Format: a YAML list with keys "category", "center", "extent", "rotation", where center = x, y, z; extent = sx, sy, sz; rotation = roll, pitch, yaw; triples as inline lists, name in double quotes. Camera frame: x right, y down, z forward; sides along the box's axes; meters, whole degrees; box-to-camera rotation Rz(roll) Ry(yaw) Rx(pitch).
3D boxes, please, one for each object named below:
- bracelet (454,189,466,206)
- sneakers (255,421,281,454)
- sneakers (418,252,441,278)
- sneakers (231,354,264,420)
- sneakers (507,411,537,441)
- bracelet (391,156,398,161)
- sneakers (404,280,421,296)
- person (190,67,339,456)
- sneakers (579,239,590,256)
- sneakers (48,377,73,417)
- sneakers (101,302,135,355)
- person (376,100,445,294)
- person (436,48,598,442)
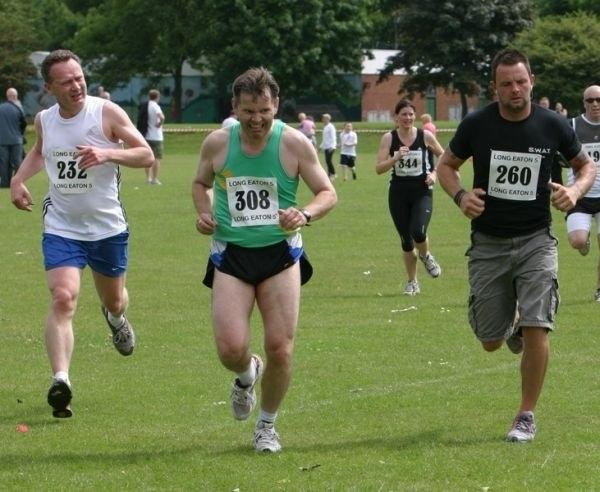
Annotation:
- category: "bracelet"
  center: [1.171, -0.359, 7.260]
  extent: [0.097, 0.067, 0.132]
  rotation: [-3, 39, 10]
- category: "sneakers"
  center: [-0.226, 1.296, 6.787]
  extent: [0.177, 0.195, 0.163]
  rotation: [-1, 9, -2]
- category: "sneakers"
  center: [1.641, 0.246, 12.657]
  extent: [0.113, 0.314, 0.134]
  rotation: [-40, -5, 27]
- category: "sneakers"
  center: [-0.388, 1.051, 7.101]
  extent: [0.170, 0.530, 0.230]
  rotation: [4, 9, 5]
- category: "sneakers"
  center: [1.546, 1.247, 6.916]
  extent: [0.191, 0.180, 0.215]
  rotation: [2, 9, 14]
- category: "bracelet"
  center: [1.101, -1.011, 11.517]
  extent: [0.061, 0.064, 0.051]
  rotation: [1, 9, 5]
- category: "sneakers"
  center: [1.312, 0.476, 11.650]
  extent: [0.181, 0.162, 0.286]
  rotation: [1, 9, 6]
- category: "person"
  center: [-0.286, 0.075, 6.906]
  extent: [0.955, 2.596, 0.814]
  rotation: [2, 8, 13]
- category: "sneakers"
  center: [3.139, 0.003, 10.952]
  extent: [0.103, 0.217, 0.092]
  rotation: [8, 12, 30]
- category: "sneakers"
  center: [-1.690, 1.062, 7.034]
  extent: [0.132, 0.318, 0.158]
  rotation: [-2, 38, -5]
- category: "sneakers"
  center: [-1.550, 0.777, 8.703]
  extent: [0.188, 0.561, 0.224]
  rotation: [-15, 31, 4]
- category: "person"
  center: [1.282, -0.595, 11.741]
  extent: [0.749, 2.241, 0.815]
  rotation: [1, 8, 8]
- category: "person"
  center: [1.532, -0.066, 7.197]
  extent: [1.019, 2.675, 0.916]
  rotation: [3, 9, 23]
